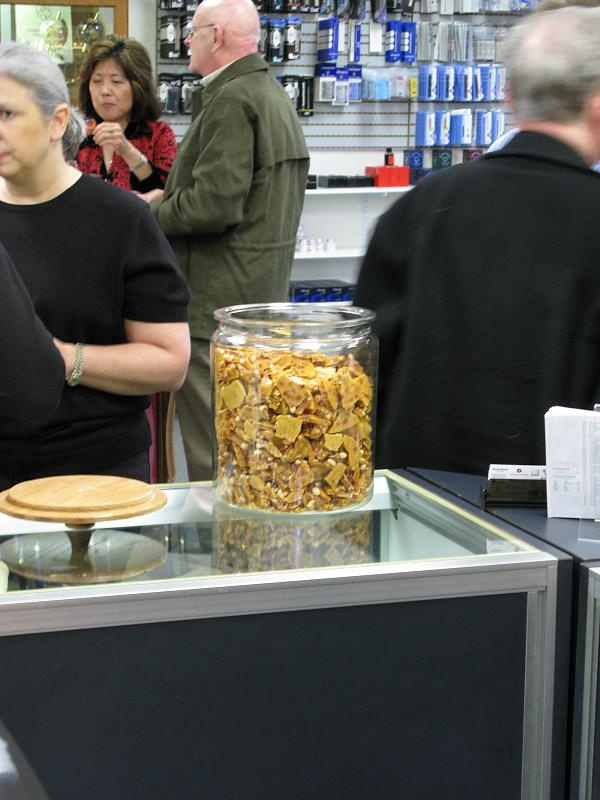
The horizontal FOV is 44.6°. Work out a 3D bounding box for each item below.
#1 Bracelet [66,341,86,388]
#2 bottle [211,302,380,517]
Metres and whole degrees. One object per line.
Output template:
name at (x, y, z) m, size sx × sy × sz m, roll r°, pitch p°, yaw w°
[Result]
Bracelet at (-0.450, -0.068, 1.469) m, size 0.024 × 0.067 × 0.059 m, roll 8°, pitch -7°, yaw -30°
bottle at (-0.012, -0.003, 0.917) m, size 0.262 × 0.260 × 0.246 m, roll -1°, pitch 7°, yaw -4°
